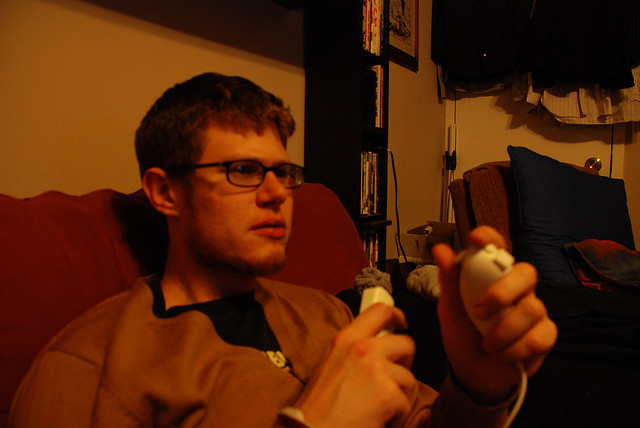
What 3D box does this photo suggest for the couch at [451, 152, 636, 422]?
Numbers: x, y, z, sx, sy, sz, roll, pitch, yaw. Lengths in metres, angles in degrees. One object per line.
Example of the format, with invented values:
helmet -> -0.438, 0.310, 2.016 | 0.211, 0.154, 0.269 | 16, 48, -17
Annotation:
couch -> 1.132, 0.286, 2.365 | 0.694, 1.457, 0.583 | 7, -26, -13

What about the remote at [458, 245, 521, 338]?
remote -> 0.455, 0.195, 1.416 | 0.155, 0.245, 0.060 | 15, 14, 24

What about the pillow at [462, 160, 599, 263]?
pillow -> 1.041, -0.033, 2.547 | 0.555, 0.633, 0.248 | -1, -9, -21

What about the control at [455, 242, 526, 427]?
control -> 0.477, 0.330, 1.426 | 0.204, 0.443, 0.105 | -2, 7, -10

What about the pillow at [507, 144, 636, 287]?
pillow -> 1.277, 0.004, 2.756 | 0.678, 0.747, 0.205 | 2, -15, -25

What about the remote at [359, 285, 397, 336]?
remote -> 0.177, 0.290, 1.562 | 0.118, 0.072, 0.229 | 16, 45, -7
